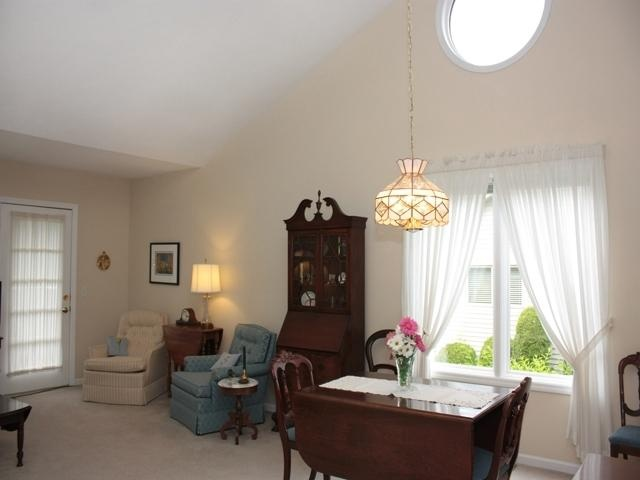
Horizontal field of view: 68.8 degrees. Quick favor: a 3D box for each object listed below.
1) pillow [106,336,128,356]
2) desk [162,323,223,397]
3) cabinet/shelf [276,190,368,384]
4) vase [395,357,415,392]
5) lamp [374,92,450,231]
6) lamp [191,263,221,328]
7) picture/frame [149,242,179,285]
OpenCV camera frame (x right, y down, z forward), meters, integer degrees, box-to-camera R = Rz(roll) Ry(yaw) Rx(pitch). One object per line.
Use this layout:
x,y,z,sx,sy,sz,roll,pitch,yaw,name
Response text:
-2.856,1.514,6.594,0.222,0.231,0.083,4,-34,-18,pillow
-1.578,1.496,5.892,0.924,1.240,0.487,-2,-3,35,desk
0.010,0.536,5.215,0.925,1.999,0.581,1,2,21,cabinet/shelf
0.678,1.085,3.820,0.178,0.289,0.187,-8,-13,38,vase
0.686,-0.399,3.757,0.548,1.076,0.573,0,-1,-2,lamp
-1.532,0.742,6.408,0.367,0.811,0.451,0,2,1,lamp
-2.356,0.367,7.139,0.598,0.678,0.044,-3,-6,36,picture/frame
